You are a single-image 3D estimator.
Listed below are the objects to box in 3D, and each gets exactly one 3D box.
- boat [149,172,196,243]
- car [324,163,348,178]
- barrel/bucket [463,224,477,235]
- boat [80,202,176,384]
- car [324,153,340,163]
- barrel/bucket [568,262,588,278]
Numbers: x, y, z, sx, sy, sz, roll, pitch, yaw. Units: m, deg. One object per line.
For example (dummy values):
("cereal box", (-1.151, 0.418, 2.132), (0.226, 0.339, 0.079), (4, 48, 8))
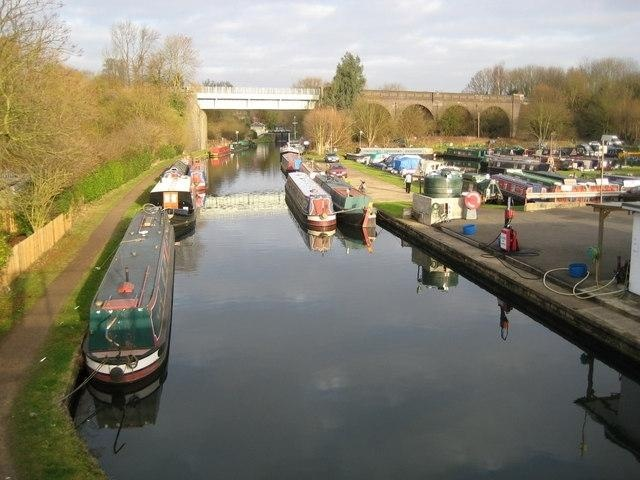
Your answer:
("boat", (-9.480, -2.117, 33.158), (1.853, 2.832, 7.557), (-2, 22, -7))
("car", (1.610, -7.022, 52.268), (1.221, 1.162, 3.206), (-1, 12, -3))
("barrel/bucket", (7.821, -0.565, 27.074), (0.493, 0.525, 0.677), (-2, 4, 0))
("boat", (-6.227, 1.324, 18.399), (1.825, 2.470, 8.766), (7, 29, -9))
("car", (1.532, -10.390, 66.356), (1.480, 0.928, 2.477), (0, 15, -11))
("barrel/bucket", (10.025, 1.179, 20.161), (0.530, 0.444, 0.577), (-2, 8, 0))
